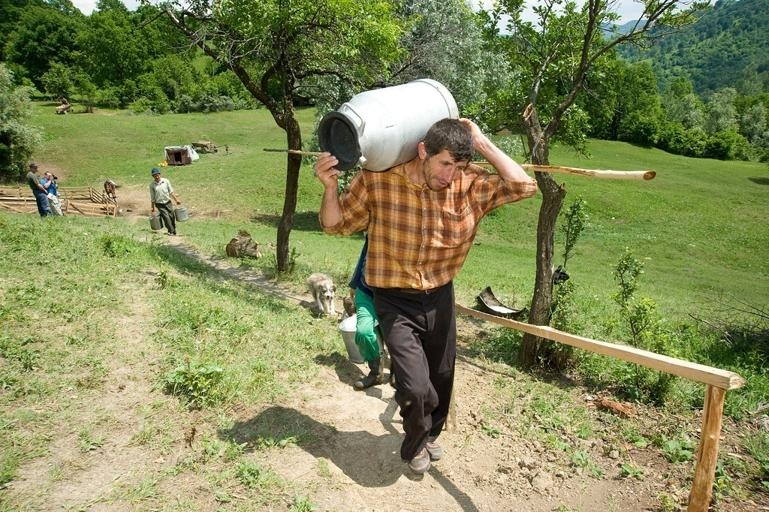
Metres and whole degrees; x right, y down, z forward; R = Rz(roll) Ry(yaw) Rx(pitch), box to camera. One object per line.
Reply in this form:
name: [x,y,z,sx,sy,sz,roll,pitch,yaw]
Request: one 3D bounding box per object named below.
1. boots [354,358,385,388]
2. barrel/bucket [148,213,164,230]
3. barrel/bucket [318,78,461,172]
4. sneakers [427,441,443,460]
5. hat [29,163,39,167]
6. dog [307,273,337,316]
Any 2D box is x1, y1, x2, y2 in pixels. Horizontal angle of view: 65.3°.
boots: [-0.271,1.971,10.208,0.559,0.515,0.264,-4,12,-28]
barrel/bucket: [-7.507,-1.124,19.747,0.355,0.366,0.635,-8,2,-11]
barrel/bucket: [0.022,-1.763,8.187,1.818,1.220,0.555,-4,19,-20]
sneakers: [0.729,2.942,9.015,0.190,0.159,0.370,0,3,-19]
hat: [-11.247,-2.907,19.264,0.220,0.062,0.217,16,-1,-25]
dog: [-1.415,0.804,13.399,0.412,0.705,1.321,-8,16,-20]
